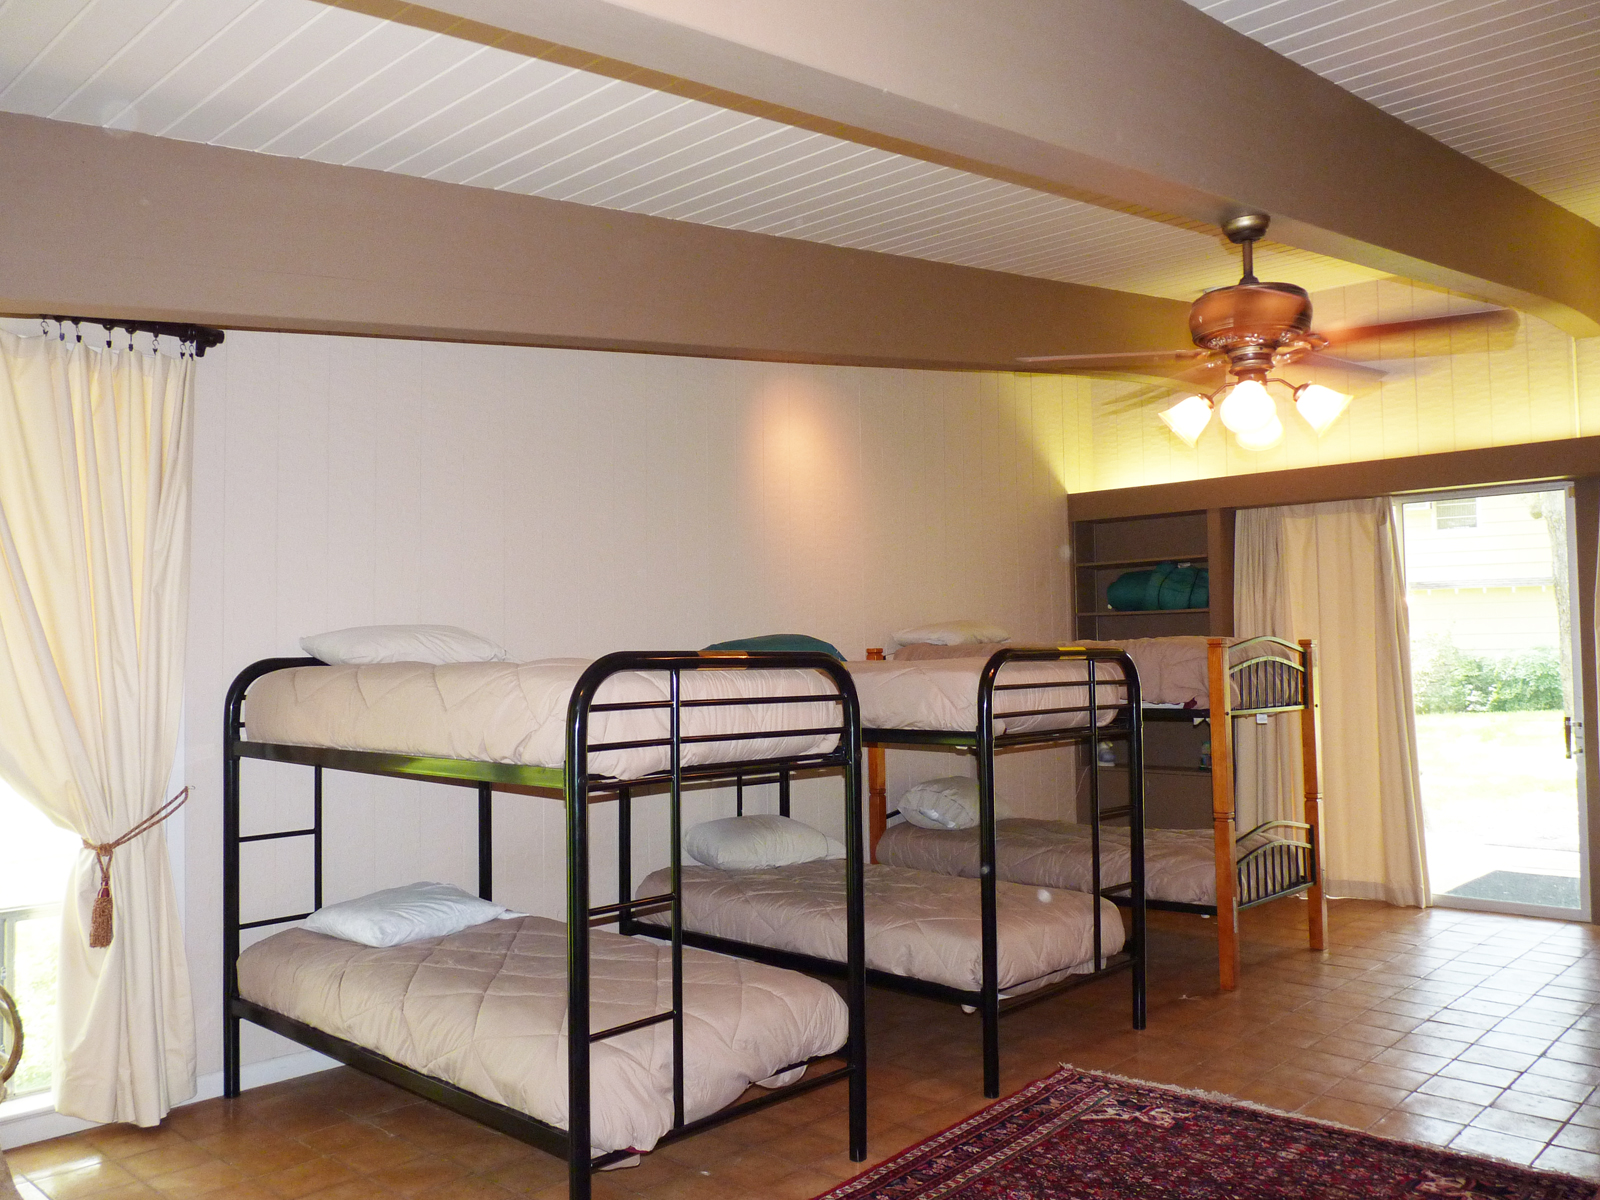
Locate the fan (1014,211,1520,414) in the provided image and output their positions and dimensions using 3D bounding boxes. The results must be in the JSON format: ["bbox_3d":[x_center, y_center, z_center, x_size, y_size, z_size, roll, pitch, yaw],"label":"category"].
[{"bbox_3d":[1.984,-1.276,5.847,1.874,0.588,1.527,-3,-13,11],"label":"fan"}]

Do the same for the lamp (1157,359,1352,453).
[{"bbox_3d":[1.788,-0.747,5.244,0.718,0.244,0.664,-8,4,18],"label":"lamp"}]
